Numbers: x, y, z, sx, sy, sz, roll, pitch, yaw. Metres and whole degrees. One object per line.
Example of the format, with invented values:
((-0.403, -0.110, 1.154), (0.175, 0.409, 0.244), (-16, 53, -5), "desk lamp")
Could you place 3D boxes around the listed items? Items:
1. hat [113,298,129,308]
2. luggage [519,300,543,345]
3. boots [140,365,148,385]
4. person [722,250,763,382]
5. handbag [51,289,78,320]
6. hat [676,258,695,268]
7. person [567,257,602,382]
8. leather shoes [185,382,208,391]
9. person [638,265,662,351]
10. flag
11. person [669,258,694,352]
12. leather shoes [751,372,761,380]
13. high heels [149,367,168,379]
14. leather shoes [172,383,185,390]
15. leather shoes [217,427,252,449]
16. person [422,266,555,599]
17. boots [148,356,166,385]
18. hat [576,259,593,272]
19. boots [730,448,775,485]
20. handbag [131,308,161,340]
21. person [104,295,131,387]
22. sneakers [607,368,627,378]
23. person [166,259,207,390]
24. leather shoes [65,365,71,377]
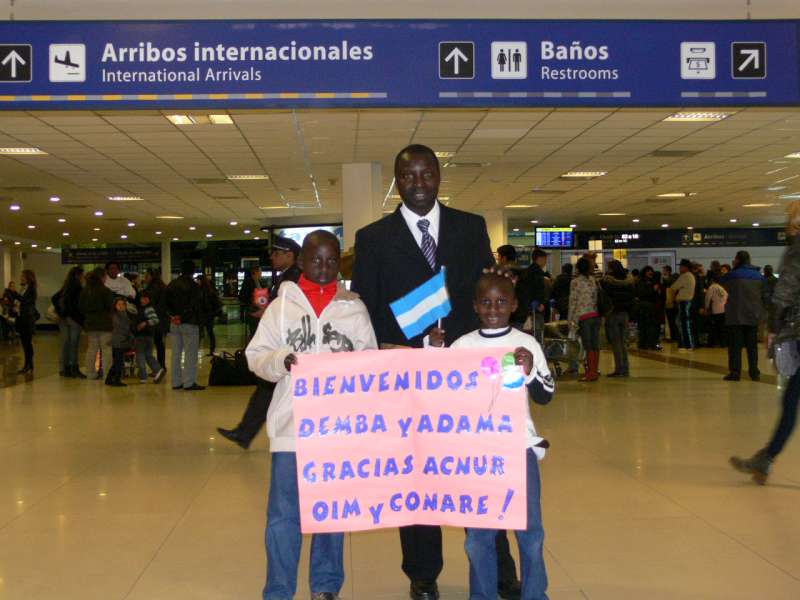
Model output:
((-4.433, 0.058, 10.337), (0.178, 0.189, 0.225), (-1, 2, -29), "hat")
((2.151, 0.359, 10.416), (0.230, 0.828, 0.635), (5, 23, 32), "luggage")
((-4.169, 1.171, 10.560), (0.129, 0.318, 0.310), (-1, 2, -23), "boots")
((5.159, 0.205, 9.919), (0.681, 1.831, 0.593), (3, -5, -14), "person")
((-6.088, 0.094, 11.823), (0.497, 0.577, 0.650), (5, -17, -37), "handbag")
((6.319, -0.802, 14.494), (0.418, 0.151, 0.558), (2, -2, 8), "hat")
((2.816, 0.276, 9.998), (0.430, 1.932, 0.541), (1, 2, 33), "person")
((-3.103, 1.295, 9.896), (0.324, 0.086, 0.280), (0, 1, -4), "leather shoes")
((5.627, 0.173, 14.804), (0.490, 1.849, 0.781), (0, 2, 20), "person")
((0.112, 0.004, 3.320), (0.344, 0.242, 0.038), (-32, -2, 4), "flag")
((6.269, 0.092, 14.471), (0.544, 1.981, 1.558), (0, 2, 23), "person")
((5.290, 1.142, 9.730), (0.117, 0.080, 0.116), (0, -9, -6), "leather shoes")
((-4.066, 1.221, 10.970), (0.294, 0.122, 0.111), (-46, -25, 23), "high heels")
((-3.359, 1.304, 9.877), (0.153, 0.076, 0.203), (-1, 1, -26), "leather shoes")
((-1.533, 1.287, 6.058), (0.338, 0.156, 0.108), (33, -5, 11), "leather shoes")
((0.472, 0.684, 3.161), (0.514, 1.688, 0.388), (0, 2, 12), "person")
((-4.118, 1.197, 11.023), (0.279, 0.378, 0.135), (27, 45, 36), "boots")
((2.770, -0.518, 9.863), (0.184, 0.222, 0.223), (-2, -43, 2), "hat")
((2.758, 1.280, 5.090), (0.286, 0.263, 0.263), (1, 2, 43), "boots")
((-4.060, 0.380, 10.417), (0.507, 0.388, 0.283), (7, -6, 7), "handbag")
((-4.566, 0.648, 10.544), (0.388, 1.421, 0.746), (-1, 2, -24), "person")
((3.491, 1.198, 10.608), (0.110, 0.121, 0.304), (-6, 12, -40), "sneakers")
((-3.363, 0.369, 10.143), (0.526, 1.954, 0.981), (-1, 2, -18), "person")
((-5.948, 1.262, 11.629), (0.088, 0.168, 0.193), (-1, 2, -35), "leather shoes")
